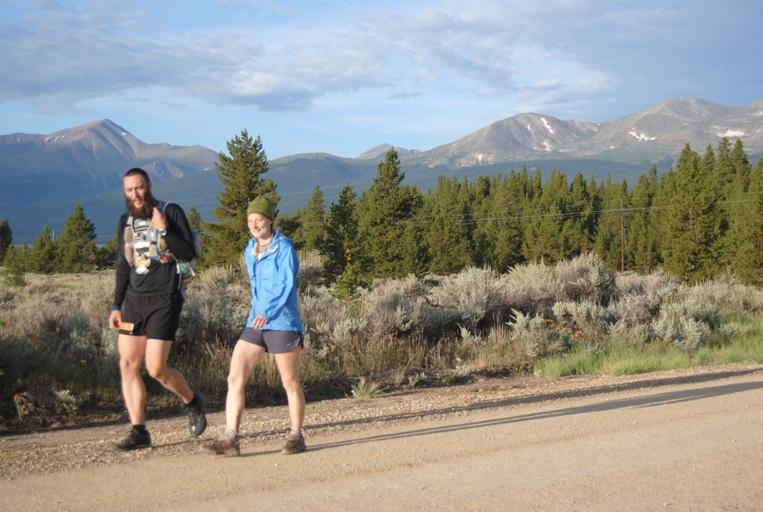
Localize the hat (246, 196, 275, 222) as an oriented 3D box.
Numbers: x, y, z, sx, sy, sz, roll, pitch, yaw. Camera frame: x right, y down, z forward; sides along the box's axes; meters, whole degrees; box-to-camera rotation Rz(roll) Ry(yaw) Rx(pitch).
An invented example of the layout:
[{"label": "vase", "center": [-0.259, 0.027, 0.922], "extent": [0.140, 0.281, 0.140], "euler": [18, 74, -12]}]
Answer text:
[{"label": "hat", "center": [-1.633, -0.660, 9.842], "extent": [0.302, 0.329, 0.353], "euler": [4, -37, 7]}]

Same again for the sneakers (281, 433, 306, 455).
[{"label": "sneakers", "center": [-1.170, 2.520, 9.648], "extent": [0.335, 0.258, 0.185], "euler": [9, -12, -38]}]

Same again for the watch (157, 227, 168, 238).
[{"label": "watch", "center": [-2.918, -0.319, 9.599], "extent": [0.110, 0.106, 0.086], "euler": [36, -11, 21]}]

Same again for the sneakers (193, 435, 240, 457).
[{"label": "sneakers", "center": [-2.186, 2.495, 9.603], "extent": [0.574, 0.289, 0.218], "euler": [9, -2, -9]}]

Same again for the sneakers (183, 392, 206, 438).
[{"label": "sneakers", "center": [-2.623, 2.265, 10.112], "extent": [0.248, 0.699, 0.277], "euler": [-13, -13, 31]}]

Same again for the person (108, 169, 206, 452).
[{"label": "person", "center": [-3.093, 0.716, 9.828], "extent": [1.183, 3.807, 0.674], "euler": [-2, 6, -10]}]

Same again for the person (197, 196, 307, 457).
[{"label": "person", "center": [-1.610, 0.919, 9.670], "extent": [1.095, 3.435, 0.607], "euler": [-1, 6, -8]}]

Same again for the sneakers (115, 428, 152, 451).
[{"label": "sneakers", "center": [-3.345, 2.479, 9.774], "extent": [0.487, 0.262, 0.220], "euler": [3, -4, -11]}]
